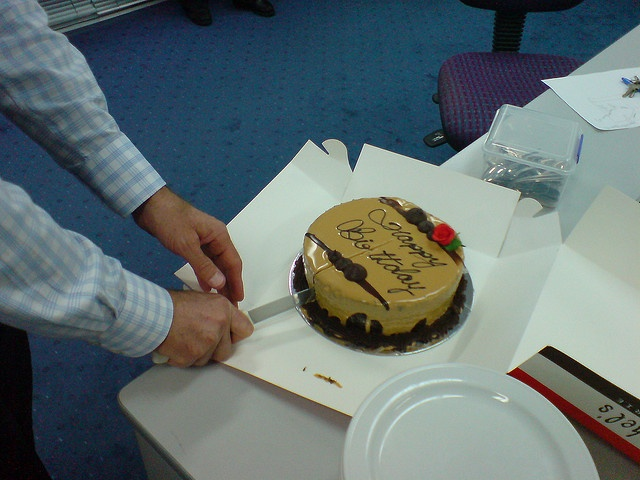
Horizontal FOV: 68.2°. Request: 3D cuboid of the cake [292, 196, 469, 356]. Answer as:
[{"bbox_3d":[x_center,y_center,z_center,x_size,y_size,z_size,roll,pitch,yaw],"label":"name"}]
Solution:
[{"bbox_3d":[0.150,0.042,1.141,0.428,0.144,0.411,-3,45,-5],"label":"cake"}]
